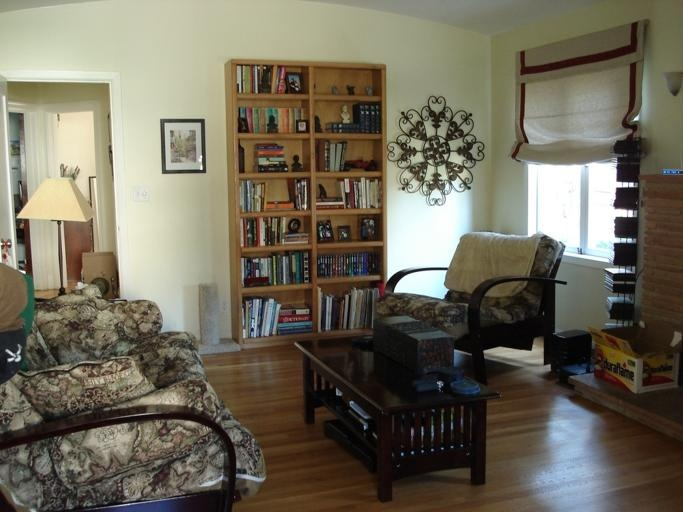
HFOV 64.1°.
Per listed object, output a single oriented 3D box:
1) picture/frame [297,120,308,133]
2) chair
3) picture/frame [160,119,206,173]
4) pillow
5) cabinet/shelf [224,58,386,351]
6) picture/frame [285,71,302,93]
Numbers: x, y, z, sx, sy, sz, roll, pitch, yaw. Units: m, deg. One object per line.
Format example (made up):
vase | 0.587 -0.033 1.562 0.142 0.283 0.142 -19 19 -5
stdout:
picture/frame | -0.370 -1.248 5.280 0.142 0.165 0.017 0 6 -5
chair | 1.055 0.302 4.694 1.367 1.113 1.211 0 2 -27
picture/frame | -1.525 -1.063 5.205 0.505 0.607 0.040 -2 12 -15
pillow | -1.061 0.510 2.504 0.807 0.726 0.824 -11 -28 -4
cabinet/shelf | -0.325 -0.539 5.410 1.616 2.665 0.520 -4 10 -17
picture/frame | -0.455 -1.676 5.288 0.174 0.213 0.141 -2 9 -9
